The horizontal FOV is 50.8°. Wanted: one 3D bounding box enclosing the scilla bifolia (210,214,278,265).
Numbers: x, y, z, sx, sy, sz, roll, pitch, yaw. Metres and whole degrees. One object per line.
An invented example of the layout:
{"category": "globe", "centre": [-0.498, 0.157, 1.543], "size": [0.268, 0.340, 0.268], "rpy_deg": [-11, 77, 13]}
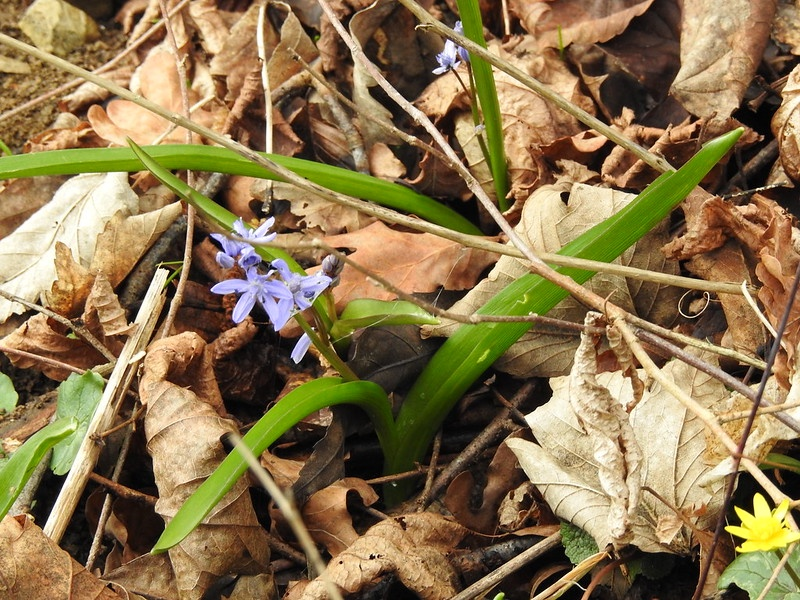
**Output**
{"category": "scilla bifolia", "centre": [-0.530, -0.229, 2.797], "size": [0.181, 0.102, 0.203], "rpy_deg": [-31, 23, 6]}

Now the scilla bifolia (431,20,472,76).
{"category": "scilla bifolia", "centre": [0.213, -0.966, 3.402], "size": [0.137, 0.192, 0.207], "rpy_deg": [-6, 58, 5]}
